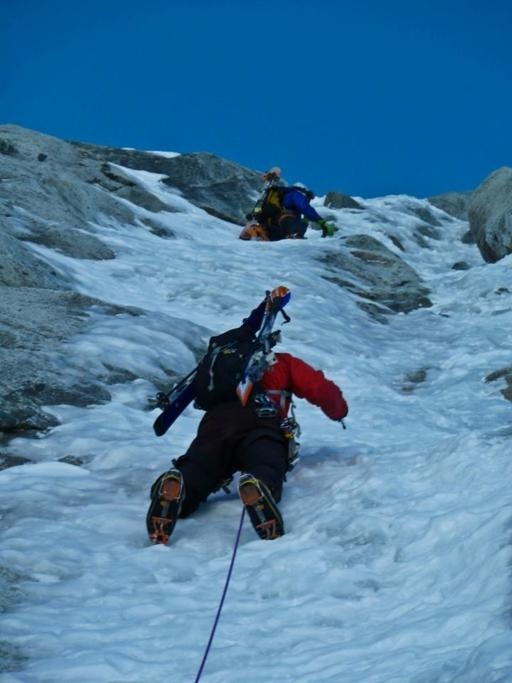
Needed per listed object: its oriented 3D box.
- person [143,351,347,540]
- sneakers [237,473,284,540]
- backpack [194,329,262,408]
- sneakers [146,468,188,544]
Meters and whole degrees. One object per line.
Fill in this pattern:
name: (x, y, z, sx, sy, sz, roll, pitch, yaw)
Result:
person: (-0.062, 0.682, 5.973, 1.222, 0.629, 1.845, -5, 30, 12)
sneakers: (0.051, 0.954, 5.085, 0.187, 0.431, 0.239, -27, -2, 6)
backpack: (-0.179, 0.200, 6.040, 0.413, 0.474, 0.621, 26, 14, -7)
sneakers: (-0.526, 0.968, 5.079, 0.197, 0.415, 0.240, 15, -12, 6)
